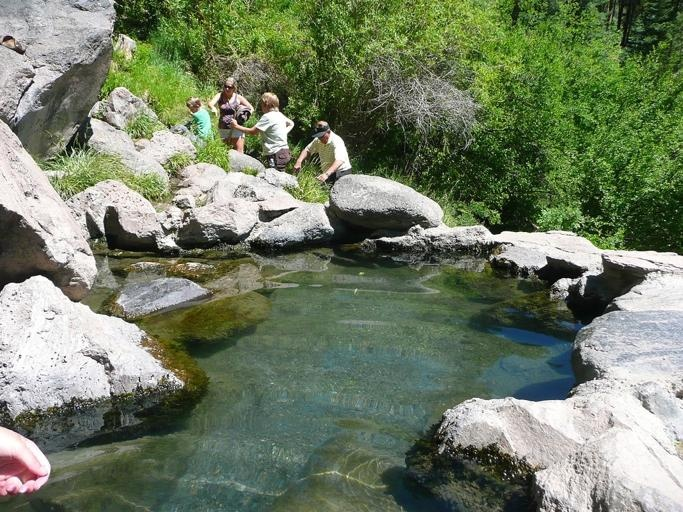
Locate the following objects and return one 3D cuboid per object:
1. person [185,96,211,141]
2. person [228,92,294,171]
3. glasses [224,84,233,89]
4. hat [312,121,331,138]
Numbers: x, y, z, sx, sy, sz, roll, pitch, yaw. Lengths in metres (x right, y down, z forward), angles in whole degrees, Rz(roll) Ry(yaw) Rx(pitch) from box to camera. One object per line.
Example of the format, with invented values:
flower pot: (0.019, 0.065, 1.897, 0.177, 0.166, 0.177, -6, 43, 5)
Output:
person: (-3.463, -3.441, 14.096, 0.620, 0.884, 2.010, 1, 25, -15)
person: (-1.525, -2.615, 12.245, 0.931, 1.700, 0.775, 15, 28, 13)
glasses: (-2.527, -3.789, 12.893, 0.165, 0.096, 0.122, 4, 25, -7)
hat: (-0.402, -2.469, 11.299, 0.264, 0.346, 0.267, 8, 26, 0)
